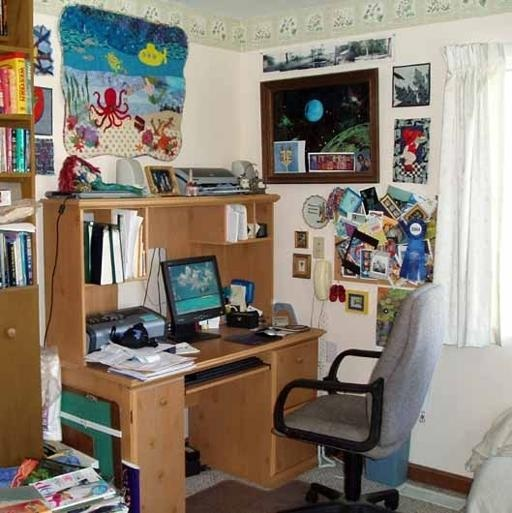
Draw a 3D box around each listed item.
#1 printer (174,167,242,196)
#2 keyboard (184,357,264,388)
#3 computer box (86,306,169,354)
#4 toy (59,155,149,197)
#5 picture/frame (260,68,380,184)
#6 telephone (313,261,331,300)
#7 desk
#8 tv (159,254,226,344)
[{"bbox_3d":[-0.271,-0.456,2.929,0.501,0.166,0.260,-8,11,-44],"label":"printer"},{"bbox_3d":[-0.144,0.585,2.491,0.064,0.081,0.548,7,11,43],"label":"keyboard"},{"bbox_3d":[-0.668,0.361,2.441,0.434,0.164,0.236,-6,10,-35],"label":"computer box"},{"bbox_3d":[-0.768,-0.394,2.372,0.319,0.192,0.433,6,10,37],"label":"toy"},{"bbox_3d":[0.415,-0.825,2.998,0.747,0.655,0.061,3,10,34],"label":"picture/frame"},{"bbox_3d":[0.411,0.147,3.058,0.111,0.243,0.083,1,0,10],"label":"telephone"},{"bbox_3d":[-0.378,0.512,2.463,0.680,1.879,1.492,3,6,40],"label":"desk"},{"bbox_3d":[-0.387,0.255,2.815,0.203,0.557,0.422,2,6,45],"label":"tv"}]
